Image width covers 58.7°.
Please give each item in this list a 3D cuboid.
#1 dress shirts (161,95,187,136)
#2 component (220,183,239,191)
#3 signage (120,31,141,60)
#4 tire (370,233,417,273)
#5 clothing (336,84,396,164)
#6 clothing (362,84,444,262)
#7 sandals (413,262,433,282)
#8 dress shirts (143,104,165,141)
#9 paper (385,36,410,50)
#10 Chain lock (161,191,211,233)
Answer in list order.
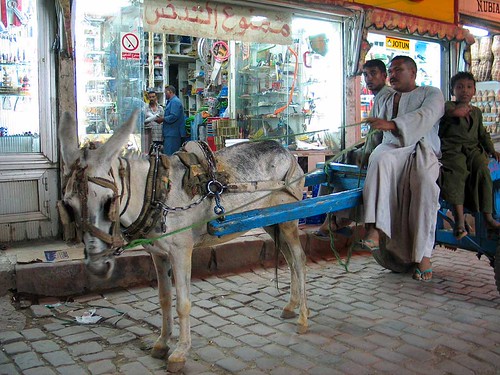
[{"bbox_3d":[-1.720,-1.611,10.058,0.643,0.929,0.802,-1,7,-19],"label":"dress shirts"},{"bbox_3d":[-0.171,0.001,4.275,0.051,0.050,0.188,-16,-18,24],"label":"component"},{"bbox_3d":[-1.822,-2.243,6.917,0.425,0.541,0.025,-3,12,-23],"label":"signage"},{"bbox_3d":[2.050,0.937,6.469,0.283,0.565,0.693,30,46,-6],"label":"tire"},{"bbox_3d":[1.550,-0.720,5.783,0.391,0.839,1.534,-4,15,30],"label":"clothing"},{"bbox_3d":[1.767,-0.250,5.139,0.844,2.006,0.720,11,4,44],"label":"clothing"},{"bbox_3d":[2.123,1.049,5.481,0.179,0.207,0.540,-2,-6,20],"label":"sandals"},{"bbox_3d":[-2.166,-1.690,10.366,0.271,0.698,0.503,22,15,15],"label":"dress shirts"},{"bbox_3d":[3.096,-3.028,9.308,0.721,0.238,0.055,-7,14,-31],"label":"paper"},{"bbox_3d":[-0.576,0.210,4.080,0.439,0.248,0.088,-14,-11,-22],"label":"Chain lock"}]
